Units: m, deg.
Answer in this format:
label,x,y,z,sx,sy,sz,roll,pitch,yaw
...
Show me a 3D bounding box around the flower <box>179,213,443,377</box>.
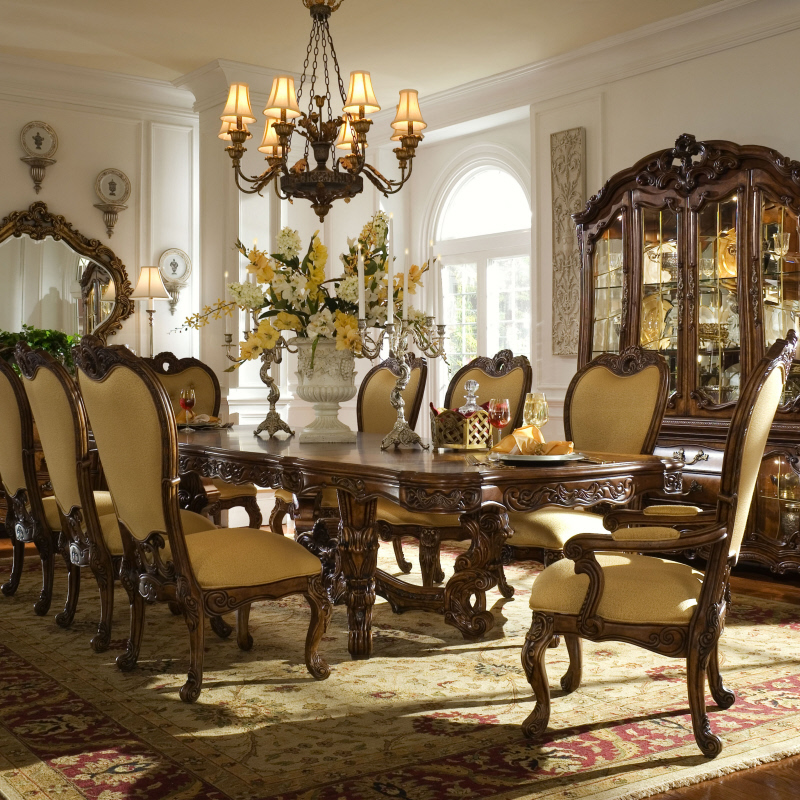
label,x,y,z,sx,sy,sz,roll,pitch,yaw
flower,-0.276,-0.409,2.972,0.915,0.461,0.910,-2,0,-36
